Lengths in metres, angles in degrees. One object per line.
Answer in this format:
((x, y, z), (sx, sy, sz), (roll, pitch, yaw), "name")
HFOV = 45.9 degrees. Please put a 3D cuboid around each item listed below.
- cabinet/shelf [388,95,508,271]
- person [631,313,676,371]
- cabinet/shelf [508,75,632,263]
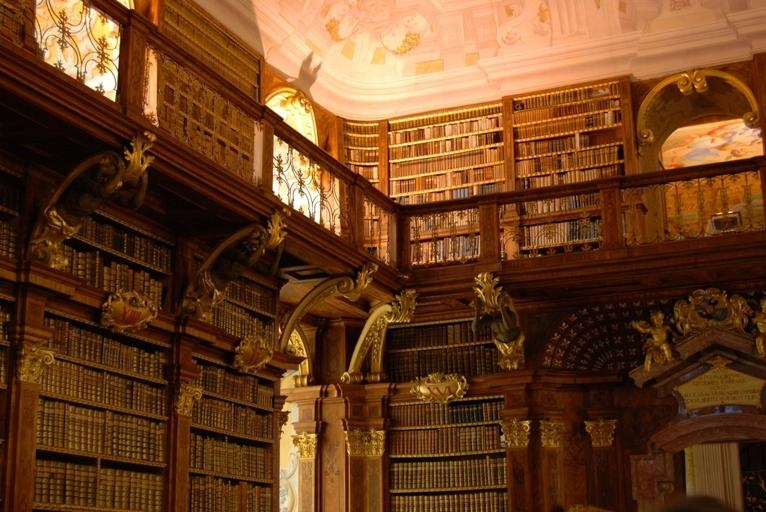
((0.960, -0.965, 12.561), (2.073, 2.107, 0.694), (-6, -19, 21), "cabinet/shelf")
((3.420, 1.065, 11.398), (0.543, 0.851, 0.211), (-9, -22, 29), "person")
((2.551, -1.097, 12.105), (2.170, 2.216, 0.675), (-6, -18, 19), "cabinet/shelf")
